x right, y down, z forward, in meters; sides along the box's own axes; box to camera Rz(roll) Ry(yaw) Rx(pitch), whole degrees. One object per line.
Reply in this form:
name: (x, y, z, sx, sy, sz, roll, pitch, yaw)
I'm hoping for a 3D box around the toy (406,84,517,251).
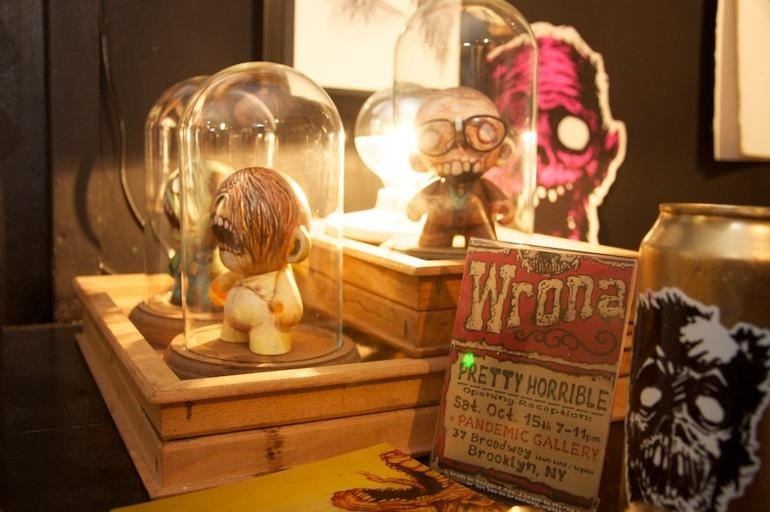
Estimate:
toy: (0.129, -0.143, 1.074, 0.177, 0.254, 0.136, 3, 10, 2)
